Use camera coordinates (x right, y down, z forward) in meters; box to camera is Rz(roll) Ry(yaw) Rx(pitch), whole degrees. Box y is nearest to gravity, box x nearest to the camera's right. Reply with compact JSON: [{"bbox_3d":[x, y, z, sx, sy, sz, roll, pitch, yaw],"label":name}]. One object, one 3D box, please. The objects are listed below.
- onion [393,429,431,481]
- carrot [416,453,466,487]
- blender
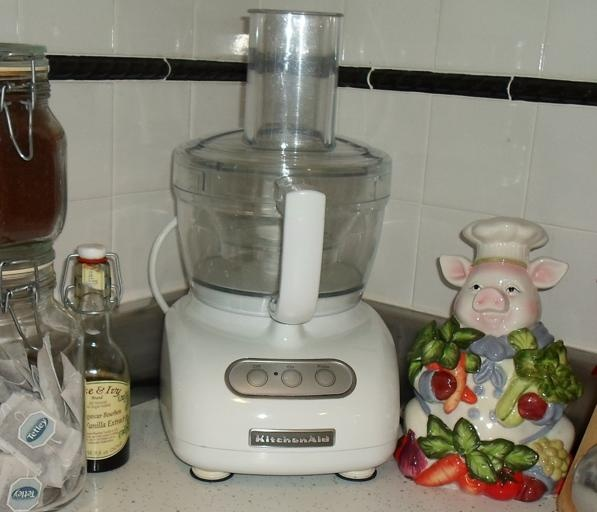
[{"bbox_3d":[0.153,0.274,0.828,0.046,0.058,0.058,-2,2,9],"label":"onion"},{"bbox_3d":[0.191,0.284,0.796,0.048,0.036,0.059,-12,12,7],"label":"carrot"},{"bbox_3d":[-0.029,-0.040,0.814,0.357,0.540,0.370,-3,23,-11],"label":"blender"}]
